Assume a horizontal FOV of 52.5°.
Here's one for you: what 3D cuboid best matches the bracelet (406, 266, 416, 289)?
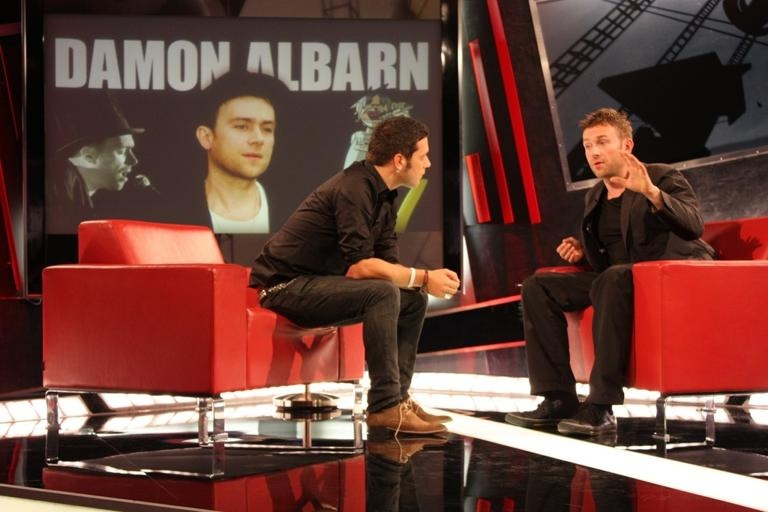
[{"bbox_3d":[0.137,0.106,3.737,0.061,0.076,0.029,3,3,-41],"label":"bracelet"}]

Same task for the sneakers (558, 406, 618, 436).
[{"bbox_3d":[0.964,0.773,3.660,0.300,0.108,0.115,4,-12,-22],"label":"sneakers"}]

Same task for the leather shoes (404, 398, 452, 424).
[{"bbox_3d":[0.207,0.767,3.864,0.319,0.118,0.100,1,-2,-13],"label":"leather shoes"}]

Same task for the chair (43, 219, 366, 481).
[{"bbox_3d":[-0.889,0.430,4.120,1.186,1.126,1.419,-1,-4,22],"label":"chair"}]

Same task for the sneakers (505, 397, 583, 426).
[{"bbox_3d":[0.801,0.783,3.945,0.421,0.150,0.135,1,-3,-8],"label":"sneakers"}]

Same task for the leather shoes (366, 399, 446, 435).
[{"bbox_3d":[0.099,0.778,3.766,0.443,0.174,0.147,1,-4,-5],"label":"leather shoes"}]

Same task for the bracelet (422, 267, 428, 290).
[{"bbox_3d":[0.199,0.107,3.772,0.029,0.071,0.056,6,-3,-2],"label":"bracelet"}]
